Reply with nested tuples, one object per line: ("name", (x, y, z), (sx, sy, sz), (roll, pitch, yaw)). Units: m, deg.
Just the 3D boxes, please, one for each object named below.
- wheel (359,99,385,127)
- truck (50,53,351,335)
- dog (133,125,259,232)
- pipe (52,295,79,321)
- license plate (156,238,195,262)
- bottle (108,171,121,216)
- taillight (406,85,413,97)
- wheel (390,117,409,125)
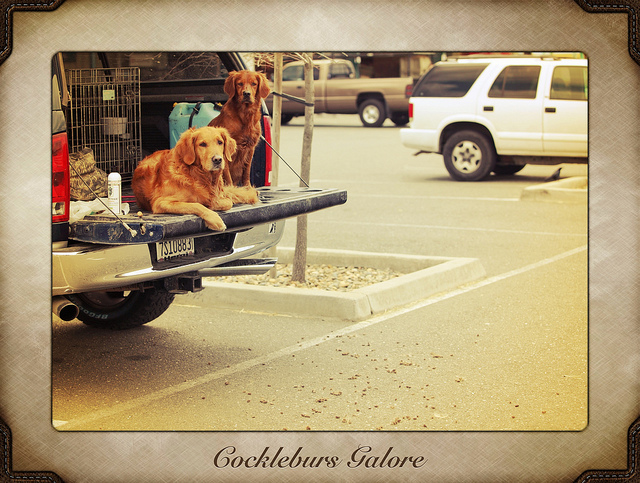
("wheel", (1.558, -3.866, 25.888), (0.756, 0.851, 0.803), (0, 12, 0))
("truck", (-1.772, -0.477, 6.908), (3.001, 1.362, 2.388), (4, 8, 35))
("dog", (-0.878, -0.450, 6.084), (0.866, 0.691, 0.691), (-4, 13, -15))
("pipe", (-1.625, 0.432, 5.431), (0.094, 0.079, 0.287), (-32, 18, -22))
("license plate", (-1.001, 0.055, 5.933), (0.021, 0.161, 0.399), (7, 14, 29))
("bottle", (-1.436, -0.341, 5.960), (0.084, 0.254, 0.267), (-4, 13, -14))
("taillight", (2.584, -4.358, 24.876), (0.173, 0.341, 0.630), (1, 12, 7))
("wheel", (2.390, -3.652, 26.071), (0.536, 0.243, 0.532), (0, 12, 0))
